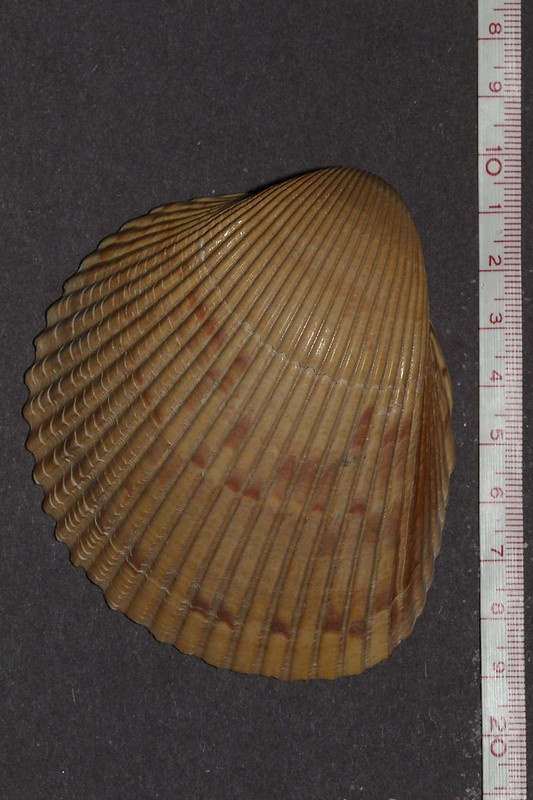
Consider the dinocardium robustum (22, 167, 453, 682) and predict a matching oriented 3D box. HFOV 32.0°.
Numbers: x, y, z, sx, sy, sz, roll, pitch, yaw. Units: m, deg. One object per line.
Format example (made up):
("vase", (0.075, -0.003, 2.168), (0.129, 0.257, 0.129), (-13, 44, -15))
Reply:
("dinocardium robustum", (-0.033, 0.020, 1.086), (0.554, 0.264, 0.572), (13, 82, 1))
